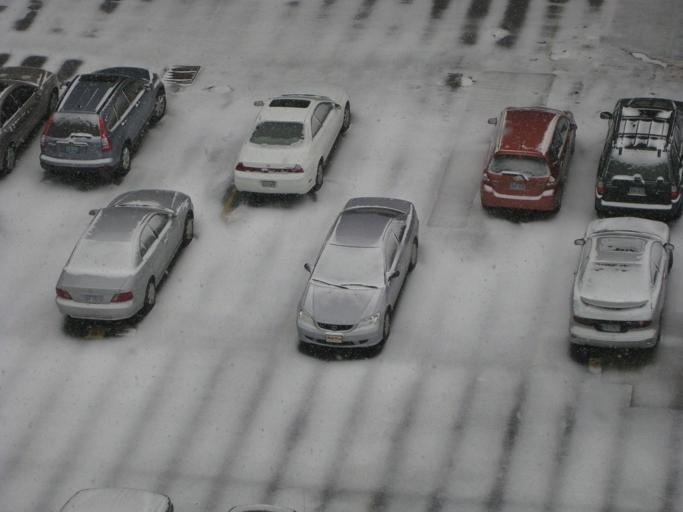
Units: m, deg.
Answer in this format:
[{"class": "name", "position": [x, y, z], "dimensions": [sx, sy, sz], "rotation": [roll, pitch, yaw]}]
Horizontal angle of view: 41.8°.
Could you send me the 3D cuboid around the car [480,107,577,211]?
[{"class": "car", "position": [5.481, -2.853, 25.532], "dimensions": [1.808, 1.643, 3.549], "rotation": [6, 56, 19]}]
